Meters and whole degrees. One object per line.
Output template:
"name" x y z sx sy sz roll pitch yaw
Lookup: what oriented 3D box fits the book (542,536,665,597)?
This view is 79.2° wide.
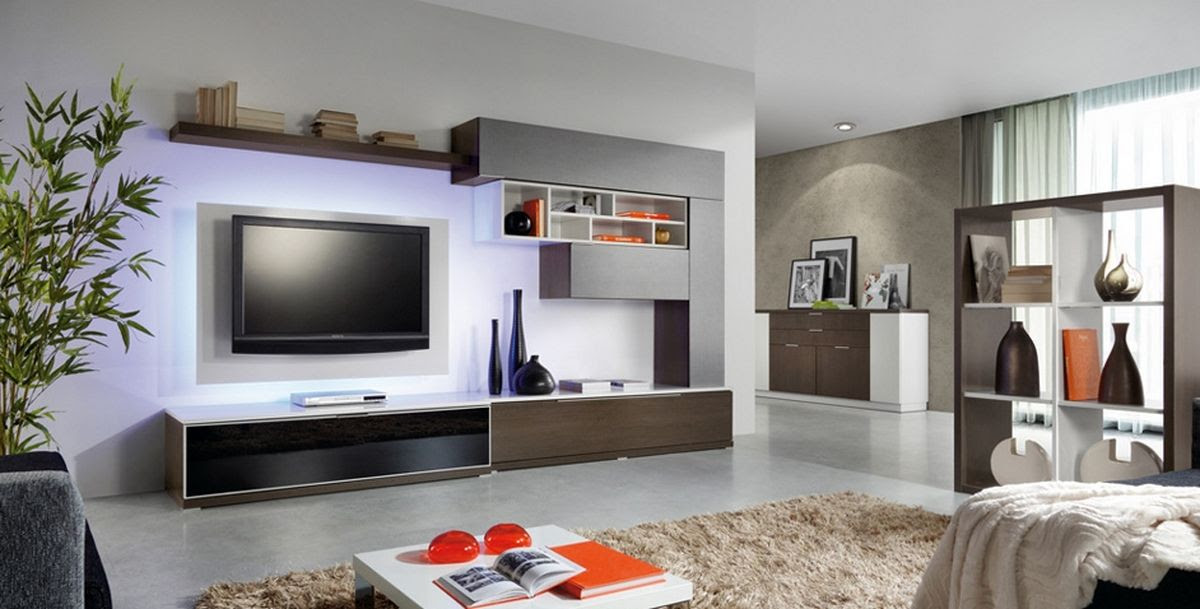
"book" 0.003 1.487 4.075 0.409 0.048 0.508 0 1 -32

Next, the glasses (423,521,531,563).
"glasses" -0.729 1.366 4.155 0.511 0.115 0.218 -1 -2 -25

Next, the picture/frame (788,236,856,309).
"picture/frame" 3.277 -0.442 10.610 1.252 1.070 0.446 0 -4 44

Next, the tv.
"tv" -2.409 -0.169 6.277 1.545 0.908 0.138 1 -3 -24

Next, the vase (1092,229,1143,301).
"vase" 3.878 -0.286 5.443 0.259 0.519 0.294 -1 12 -7

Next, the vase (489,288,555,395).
"vase" -0.796 0.353 6.789 0.552 0.943 0.605 -5 13 -24

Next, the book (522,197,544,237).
"book" -0.600 -0.810 6.829 0.085 0.294 0.319 -7 -1 -6
